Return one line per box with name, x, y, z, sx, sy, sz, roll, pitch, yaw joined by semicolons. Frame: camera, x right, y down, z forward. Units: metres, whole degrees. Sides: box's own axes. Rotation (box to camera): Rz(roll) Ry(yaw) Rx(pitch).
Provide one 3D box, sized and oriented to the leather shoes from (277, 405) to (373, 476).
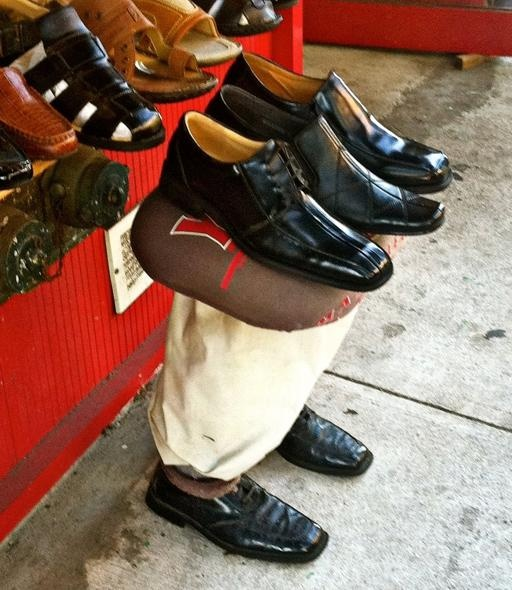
leather shoes;0.162;0.395;1.389;0.255;0.086;0.137;27;60;24
